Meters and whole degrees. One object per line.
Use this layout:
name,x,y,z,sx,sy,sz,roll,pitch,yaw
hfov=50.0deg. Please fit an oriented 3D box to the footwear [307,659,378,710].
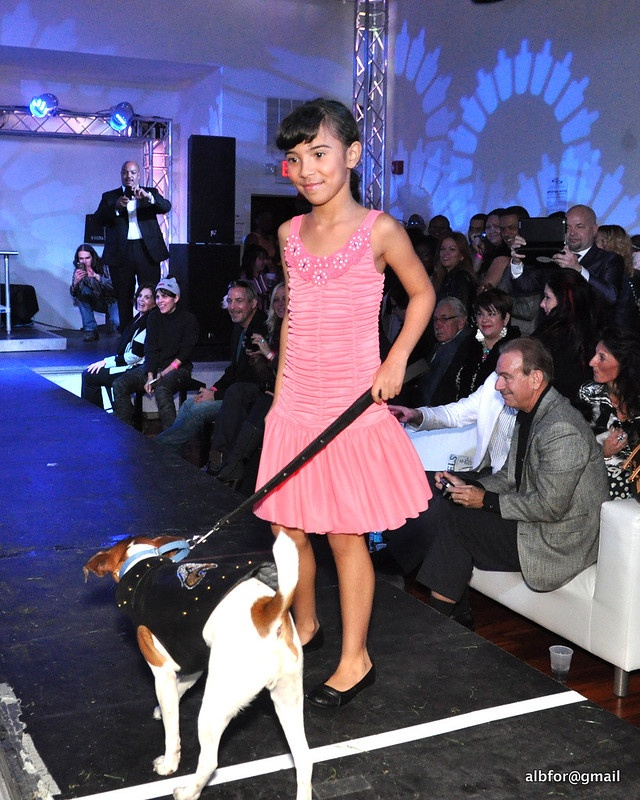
footwear,0.052,0.641,1.524,0.153,0.040,0.053,6,-7,-42

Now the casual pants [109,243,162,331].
casual pants,-2.346,-1.482,8.718,0.520,1.020,0.313,-7,8,-22

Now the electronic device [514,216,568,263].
electronic device,1.617,-1.117,5.012,0.447,0.361,0.319,1,7,25

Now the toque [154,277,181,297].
toque,-1.317,-0.991,6.005,0.215,0.204,0.277,0,12,-3

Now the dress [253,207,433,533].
dress,0.033,-0.057,1.550,0.491,0.705,0.297,3,19,2

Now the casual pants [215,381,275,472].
casual pants,-0.562,0.196,4.557,0.187,0.533,0.588,22,-10,-25

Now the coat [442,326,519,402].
coat,1.086,-0.246,4.228,0.241,0.326,0.364,27,-28,-27

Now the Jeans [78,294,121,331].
Jeans,-3.149,-1.257,9.794,0.594,0.601,0.458,-2,-20,-13

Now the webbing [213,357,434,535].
webbing,-0.049,0.083,1.404,0.498,0.321,0.239,-6,13,-30

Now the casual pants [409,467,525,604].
casual pants,0.527,0.519,2.634,0.237,0.446,0.362,5,13,1

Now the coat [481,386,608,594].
coat,0.874,0.353,2.686,0.496,0.691,0.486,-2,8,-5

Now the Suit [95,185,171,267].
Suit,-2.320,-2.169,8.598,0.955,0.922,0.624,-4,0,-2

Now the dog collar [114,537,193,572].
dog collar,-0.300,0.284,1.242,0.079,0.029,0.054,-12,4,-1

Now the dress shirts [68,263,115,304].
dress shirts,-3.210,-1.587,9.677,0.558,0.635,0.315,-1,5,-10

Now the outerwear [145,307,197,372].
outerwear,-1.298,-0.518,6.014,0.451,0.497,0.301,-1,16,-8

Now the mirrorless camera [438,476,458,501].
mirrorless camera,0.513,0.374,2.764,0.049,0.120,0.087,-14,31,9

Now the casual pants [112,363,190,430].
casual pants,-1.630,-0.050,6.123,0.405,0.437,0.393,-24,15,-24

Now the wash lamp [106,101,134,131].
wash lamp,-3.076,-4.382,10.603,0.376,0.423,0.473,-3,11,-15
